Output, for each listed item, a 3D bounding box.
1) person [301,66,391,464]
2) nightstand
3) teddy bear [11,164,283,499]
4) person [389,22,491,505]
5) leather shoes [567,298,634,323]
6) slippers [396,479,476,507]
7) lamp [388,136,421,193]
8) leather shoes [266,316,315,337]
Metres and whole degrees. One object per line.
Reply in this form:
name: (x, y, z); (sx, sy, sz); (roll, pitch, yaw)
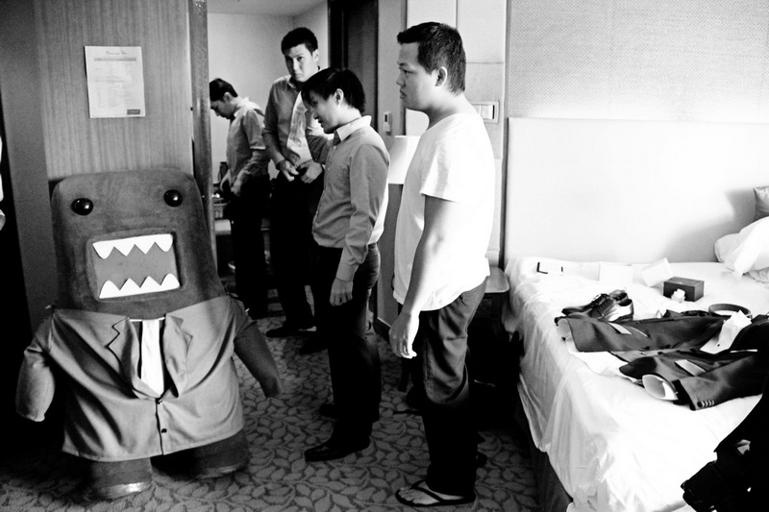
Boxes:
person: (-0.190, -0.009, 3.097); (0.461, 1.955, 0.915); (-3, 16, 1)
nightstand: (0.305, 0.506, 3.392); (0.587, 0.847, 0.801); (1, 7, 4)
teddy bear: (-1.167, 0.361, 2.740); (1.127, 1.486, 0.524); (-8, 17, -15)
person: (0.248, 0.113, 2.492); (0.460, 2.159, 0.389); (0, 16, 10)
leather shoes: (1.188, 0.292, 3.096); (0.429, 0.166, 0.163); (4, -2, -6)
slippers: (0.248, 1.139, 2.684); (0.320, 0.071, 0.148); (3, 7, 1)
lamp: (0.101, -0.581, 3.545); (0.304, 0.323, 0.301); (-2, 11, -24)
leather shoes: (-0.714, 0.553, 4.401); (0.434, 0.190, 0.146); (0, 1, -7)
